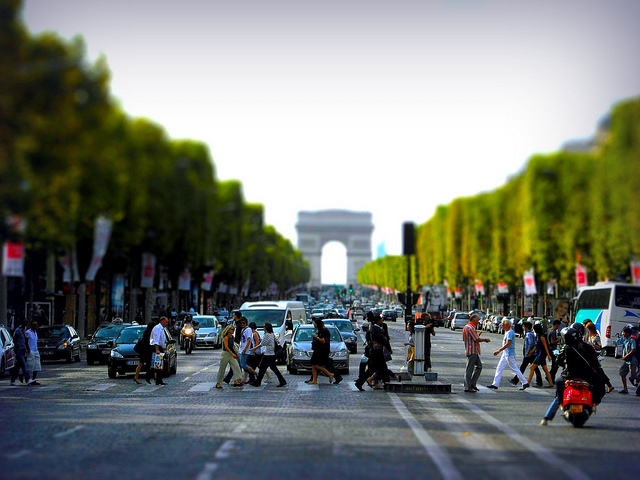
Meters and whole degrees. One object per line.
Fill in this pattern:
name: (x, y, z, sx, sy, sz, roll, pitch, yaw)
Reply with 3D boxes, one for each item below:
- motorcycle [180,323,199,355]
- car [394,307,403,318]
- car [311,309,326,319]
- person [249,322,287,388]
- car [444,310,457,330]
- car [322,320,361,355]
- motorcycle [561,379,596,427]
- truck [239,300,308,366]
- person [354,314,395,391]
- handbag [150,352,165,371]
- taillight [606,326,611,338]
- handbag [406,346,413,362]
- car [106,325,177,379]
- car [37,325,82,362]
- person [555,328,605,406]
motorcycle: (-7.625, 5.393, 42.169, 0.889, 1.823, 3.082, 0, 9, -8)
car: (11.857, 10.766, 108.042, 1.035, 1.105, 1.957, 0, 5, 5)
car: (-0.103, 6.481, 62.468, 1.171, 1.217, 2.277, 0, -11, -4)
person: (-1.659, 3.733, 23.528, 1.003, 2.021, 1.534, 3, -6, -23)
car: (15.740, 9.452, 86.389, 1.219, 1.379, 2.370, 0, 2, 6)
car: (1.461, 5.327, 39.779, 1.448, 1.314, 3.353, -1, -8, 3)
motorcycle: (5.211, 3.316, 14.615, 0.557, 0.977, 0.405, -1, -6, 14)
truck: (-2.179, 3.957, 33.122, 1.963, 2.192, 3.850, -1, -9, 8)
person: (1.709, 3.487, 22.302, 0.930, 2.251, 1.328, -1, -6, 18)
handbag: (-5.193, 3.912, 23.192, 0.451, 0.634, 0.220, 3, -28, 9)
taillight: (17.208, 5.506, 43.091, 0.073, 0.669, 0.361, 2, -6, -17)
handbag: (3.000, 3.793, 23.890, 0.127, 0.509, 0.340, 3, 2, 1)
car: (-6.818, 4.025, 26.666, 1.720, 1.581, 3.017, -1, -9, -1)
car: (-12.212, 4.830, 34.139, 1.543, 1.297, 2.658, 0, -10, -5)
person: (5.370, 2.542, 15.332, 0.945, 1.261, 1.736, -1, 1, 11)
